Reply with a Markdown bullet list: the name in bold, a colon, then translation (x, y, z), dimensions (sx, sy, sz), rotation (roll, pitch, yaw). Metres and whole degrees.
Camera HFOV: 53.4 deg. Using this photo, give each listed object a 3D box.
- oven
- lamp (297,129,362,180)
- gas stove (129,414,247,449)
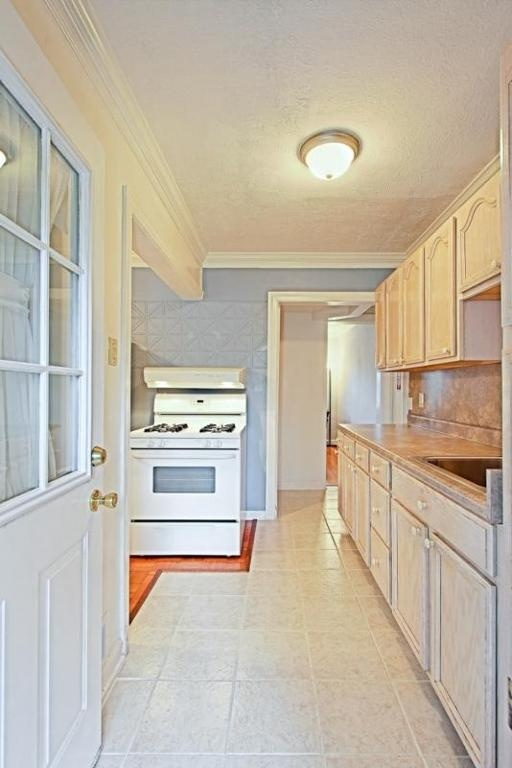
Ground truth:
- **oven**: translation (-0.400, 0.704, 3.388), dimensions (0.788, 0.951, 0.630), rotation (-1, -5, -1)
- **lamp**: translation (0.320, -0.983, 2.225), dimensions (0.283, 0.116, 0.291), rotation (0, 0, 5)
- **gas stove**: translation (-0.427, 0.318, 3.541), dimensions (0.708, 0.143, 0.983), rotation (0, 0, -2)
